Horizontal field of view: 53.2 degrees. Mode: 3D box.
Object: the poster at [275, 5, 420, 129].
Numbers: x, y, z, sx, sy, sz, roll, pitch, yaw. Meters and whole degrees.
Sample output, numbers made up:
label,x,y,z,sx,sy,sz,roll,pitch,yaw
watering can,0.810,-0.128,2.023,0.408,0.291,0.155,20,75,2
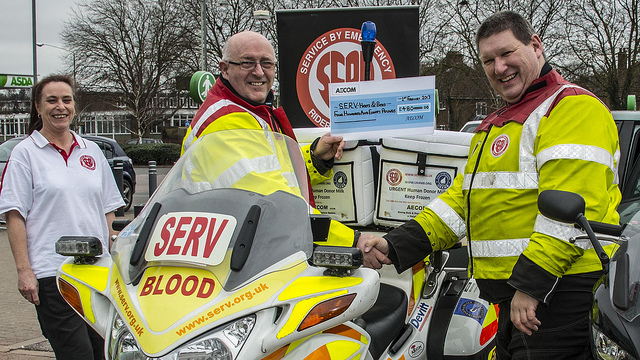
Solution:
label,x,y,z,sx,sy,sz,roll,pitch,yaw
poster,0.326,-1.145,6.536,1.511,1.469,0.055,0,0,4
